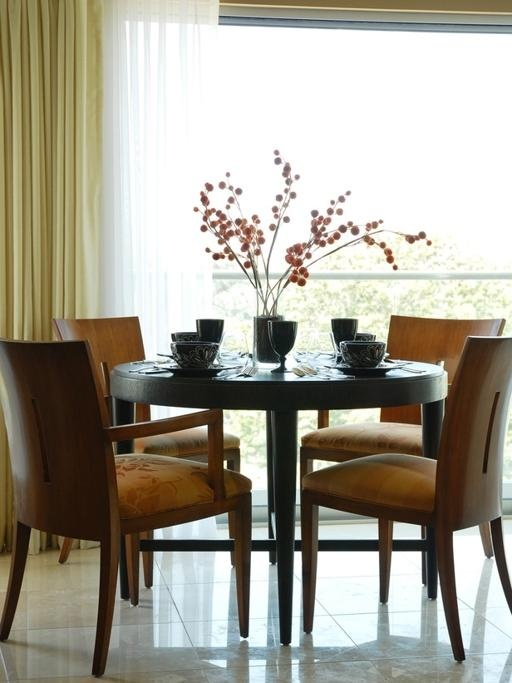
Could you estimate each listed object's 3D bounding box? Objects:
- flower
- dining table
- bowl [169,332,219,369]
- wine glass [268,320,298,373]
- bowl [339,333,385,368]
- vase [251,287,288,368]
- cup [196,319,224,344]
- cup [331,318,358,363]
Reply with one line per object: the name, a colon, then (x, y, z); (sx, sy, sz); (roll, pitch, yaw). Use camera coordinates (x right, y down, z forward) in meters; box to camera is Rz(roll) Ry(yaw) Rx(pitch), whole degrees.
flower: (0.161, -0.311, 2.278); (0.644, 0.394, 0.751); (16, 28, 23)
dining table: (0.097, 0.450, 2.171); (1.095, 0.800, 1.127); (1, 4, 21)
bowl: (-0.172, 0.030, 1.771); (0.112, 0.078, 0.114); (0, 1, 0)
wine glass: (0.074, 0.020, 1.874); (0.080, 0.127, 0.077); (10, -16, -33)
bowl: (0.291, 0.027, 1.792); (0.104, 0.064, 0.110); (0, 7, 0)
vase: (0.041, -0.034, 2.000); (0.091, 0.235, 0.092); (1, 0, 29)
cup: (-0.139, -0.029, 2.003); (0.067, 0.078, 0.076); (2, 2, 34)
cup: (0.276, -0.005, 2.086); (0.090, 0.143, 0.087); (-1, 7, 0)
